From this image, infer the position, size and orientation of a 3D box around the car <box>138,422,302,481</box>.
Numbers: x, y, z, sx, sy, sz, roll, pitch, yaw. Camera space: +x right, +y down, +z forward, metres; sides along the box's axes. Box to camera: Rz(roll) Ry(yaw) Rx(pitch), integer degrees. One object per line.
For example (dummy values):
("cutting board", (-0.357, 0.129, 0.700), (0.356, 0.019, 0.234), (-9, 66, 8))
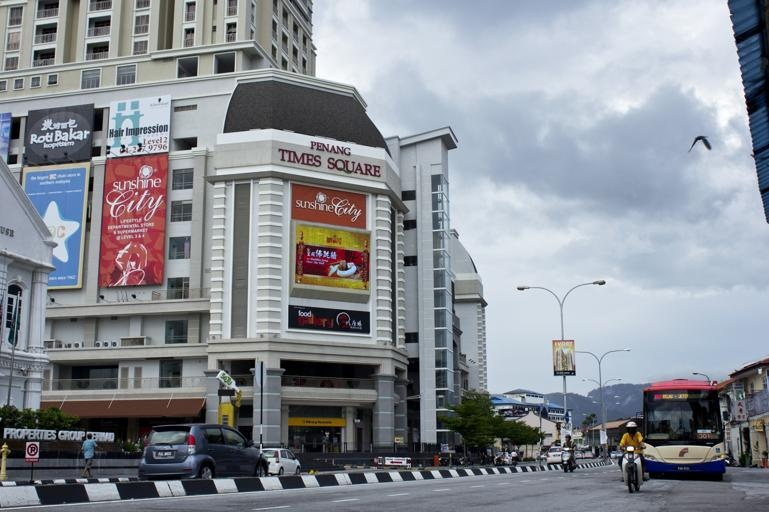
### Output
("car", (-8.484, 9.213, 42.413), (2.955, 2.255, 5.260), (-10, -12, 37))

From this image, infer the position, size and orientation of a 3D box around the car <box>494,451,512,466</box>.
("car", (12.738, 21.867, 94.681), (2.024, 1.116, 0.976), (-3, -5, -6))

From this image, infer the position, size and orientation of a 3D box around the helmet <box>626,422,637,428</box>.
("helmet", (11.799, 8.102, 42.378), (0.340, 0.168, 0.465), (-1, -17, 15))
